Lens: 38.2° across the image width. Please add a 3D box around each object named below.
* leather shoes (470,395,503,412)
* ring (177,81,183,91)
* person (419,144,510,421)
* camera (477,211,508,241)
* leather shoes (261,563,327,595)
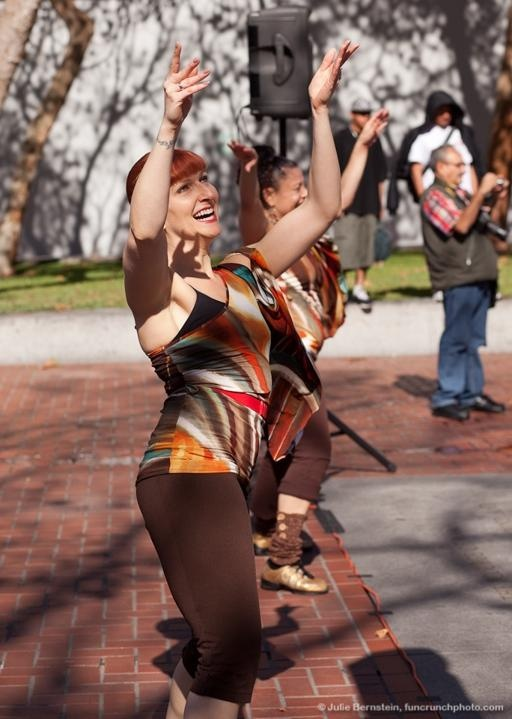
[{"bbox_3d":[2.132,0.419,6.879,0.242,0.158,0.075,-7,46,26],"label":"leather shoes"},{"bbox_3d":[-0.145,-0.515,1.402,0.008,0.019,0.015,-2,9,-5],"label":"ring"},{"bbox_3d":[1.794,-0.585,6.348,0.780,2.359,0.990,1,9,12],"label":"person"},{"bbox_3d":[1.933,-1.097,6.063,0.201,0.219,0.869,2,8,17],"label":"camera"},{"bbox_3d":[0.174,1.036,3.546,0.324,0.122,0.118,1,5,13],"label":"leather shoes"}]
